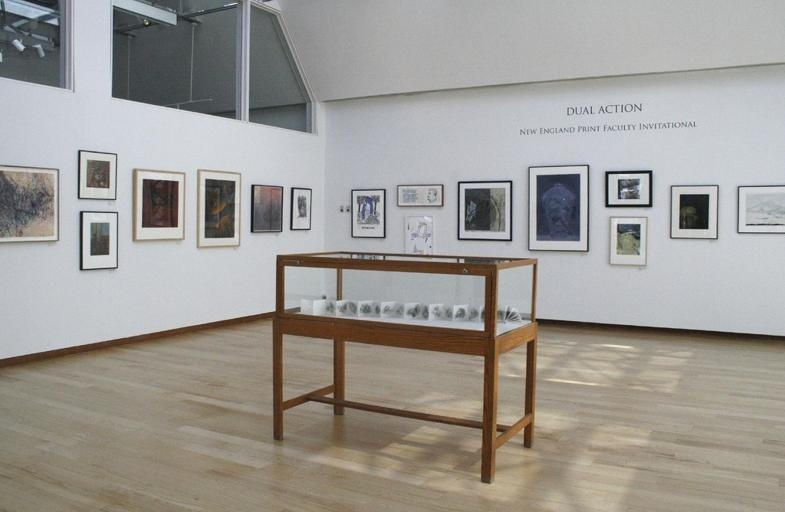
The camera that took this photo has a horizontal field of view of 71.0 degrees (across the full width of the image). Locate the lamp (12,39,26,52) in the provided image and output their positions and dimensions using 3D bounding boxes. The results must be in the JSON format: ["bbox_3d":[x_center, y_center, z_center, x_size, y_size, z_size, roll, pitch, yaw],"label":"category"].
[{"bbox_3d":[-5.572,-3.141,8.206,0.047,0.165,0.161,-2,25,37],"label":"lamp"}]

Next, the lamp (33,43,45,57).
[{"bbox_3d":[-5.375,-3.137,8.374,0.042,0.155,0.162,1,23,17],"label":"lamp"}]
